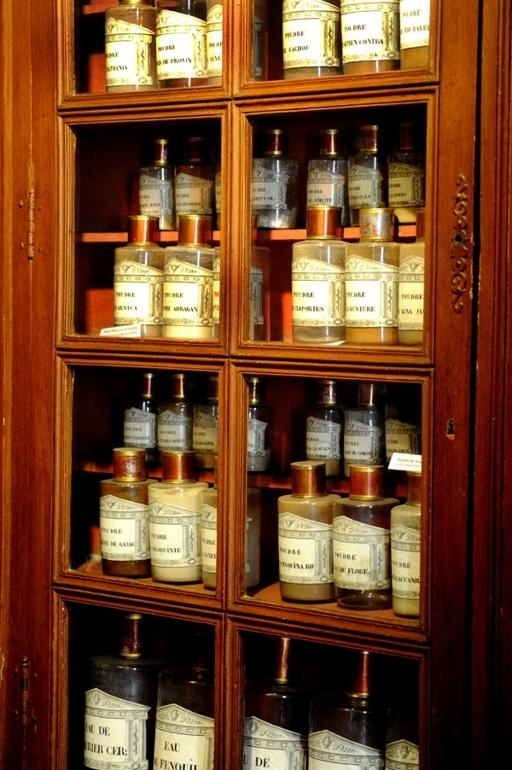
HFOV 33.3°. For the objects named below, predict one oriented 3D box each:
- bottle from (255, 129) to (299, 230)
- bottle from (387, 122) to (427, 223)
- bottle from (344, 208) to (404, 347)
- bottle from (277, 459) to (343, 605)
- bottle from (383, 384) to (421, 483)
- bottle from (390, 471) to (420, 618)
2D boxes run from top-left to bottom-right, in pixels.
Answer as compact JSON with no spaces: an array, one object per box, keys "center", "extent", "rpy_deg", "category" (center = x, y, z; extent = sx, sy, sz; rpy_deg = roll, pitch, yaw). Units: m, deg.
[{"center":[0.023,-0.254,1.053],"extent":[0.054,0.115,0.032],"rpy_deg":[-1,16,0],"category":"bottle"},{"center":[0.168,-0.244,0.975],"extent":[0.018,0.107,0.073],"rpy_deg":[-7,18,-20],"category":"bottle"},{"center":[0.136,-0.128,1.000],"extent":[0.073,0.149,0.060],"rpy_deg":[6,18,21],"category":"bottle"},{"center":[0.062,0.180,1.050],"extent":[0.069,0.154,0.077],"rpy_deg":[0,16,2],"category":"bottle"},{"center":[0.166,0.045,0.974],"extent":[0.012,0.099,0.063],"rpy_deg":[-12,20,-32],"category":"bottle"},{"center":[0.167,0.178,0.970],"extent":[0.032,0.162,0.062],"rpy_deg":[1,17,7],"category":"bottle"}]
